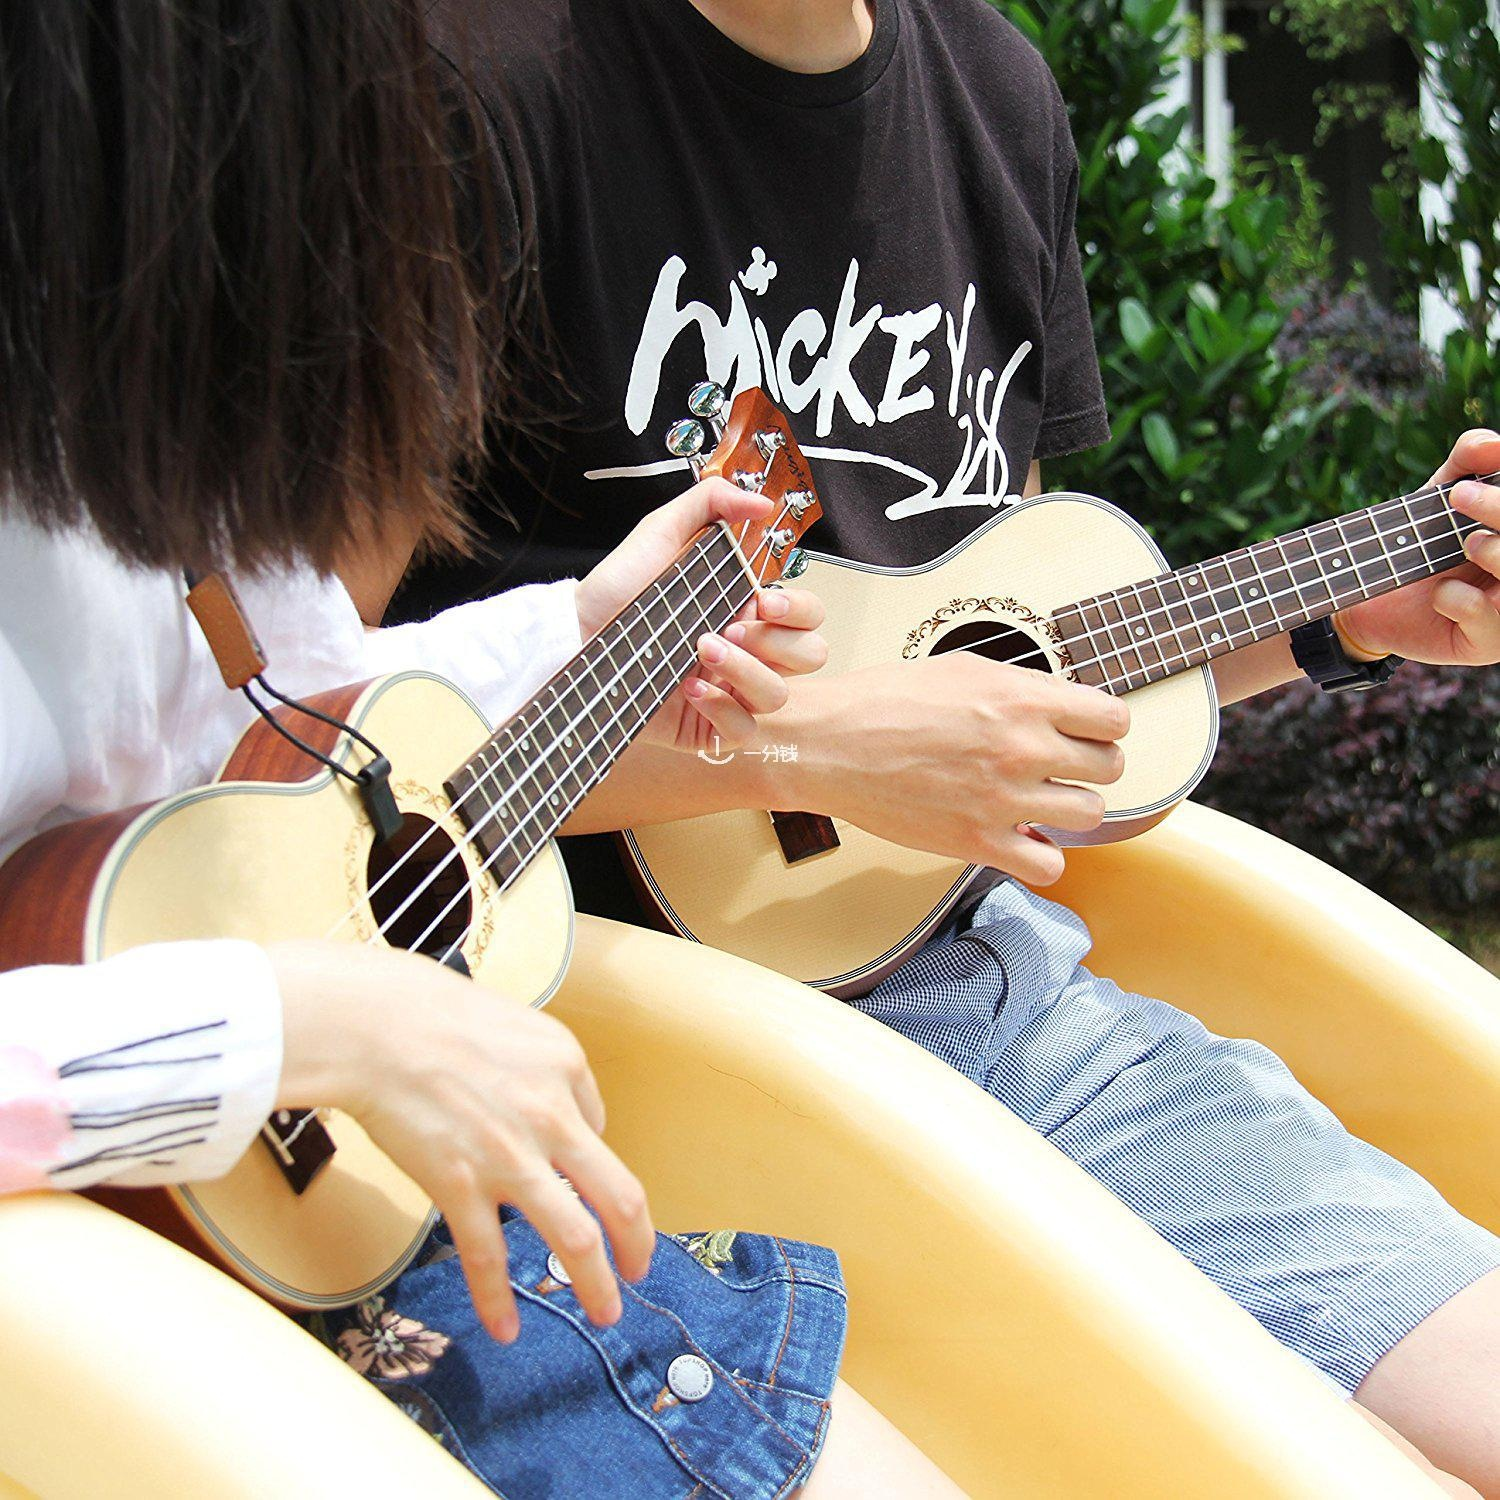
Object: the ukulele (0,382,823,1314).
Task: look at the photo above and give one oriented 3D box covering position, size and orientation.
[{"bbox_3d":[-0.183,0.017,0.988,0.085,0.254,0.571,-23,22,40],"label":"ukulele"}]
